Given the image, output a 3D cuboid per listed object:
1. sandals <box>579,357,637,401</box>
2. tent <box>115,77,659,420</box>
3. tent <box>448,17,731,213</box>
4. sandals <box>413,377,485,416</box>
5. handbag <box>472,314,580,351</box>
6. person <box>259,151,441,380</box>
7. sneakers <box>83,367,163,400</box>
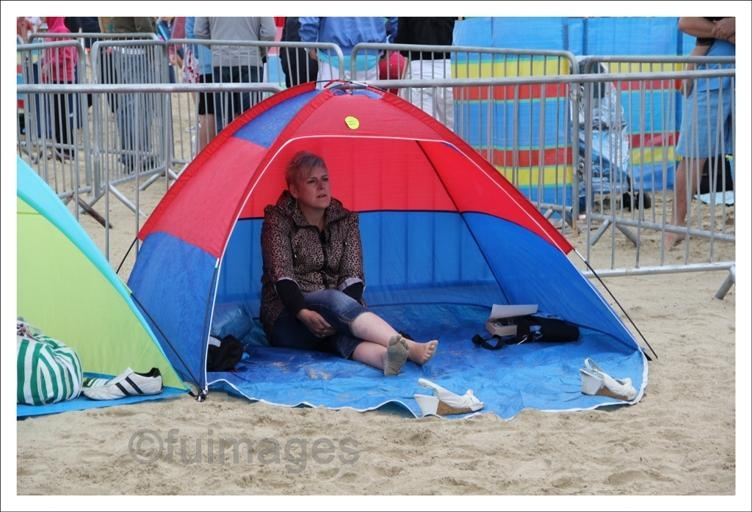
[{"bbox_3d":[1.550,0.842,6.230,0.338,0.148,0.189,9,10,-1],"label":"sandals"},{"bbox_3d":[0.061,-0.030,7.410,2.678,1.566,2.980,-4,11,-24],"label":"tent"},{"bbox_3d":[2.273,-1.916,10.454,2.628,1.705,2.625,1,9,-2],"label":"tent"},{"bbox_3d":[0.479,0.938,6.141,0.579,0.256,0.193,1,-14,-37],"label":"sandals"},{"bbox_3d":[1.200,0.579,7.151,0.545,0.157,0.358,1,3,0],"label":"handbag"},{"bbox_3d":[-0.227,0.030,6.825,0.774,1.592,1.616,-4,9,-33],"label":"person"},{"bbox_3d":[-1.651,0.842,6.254,0.566,0.211,0.210,-1,4,-6],"label":"sneakers"}]
